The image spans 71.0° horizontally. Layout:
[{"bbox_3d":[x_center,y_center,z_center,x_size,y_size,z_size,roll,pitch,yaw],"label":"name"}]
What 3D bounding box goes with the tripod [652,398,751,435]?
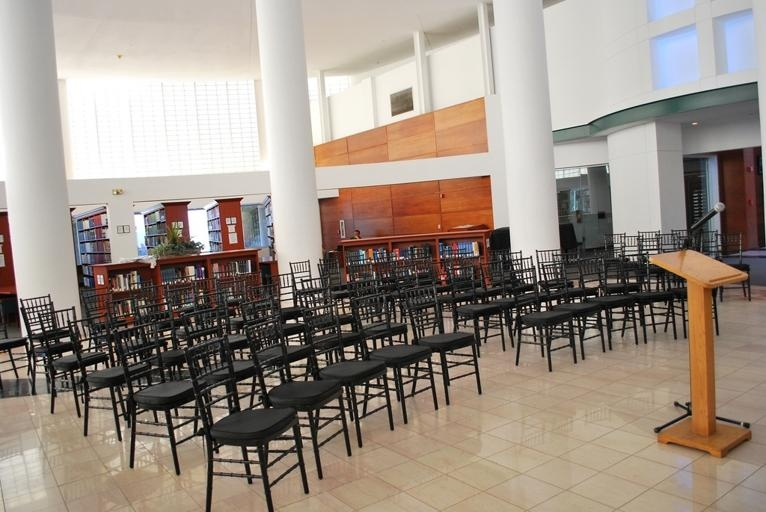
[{"bbox_3d":[3.158,1.597,5.254,0.523,0.115,0.528,-3,3,31],"label":"tripod"}]
